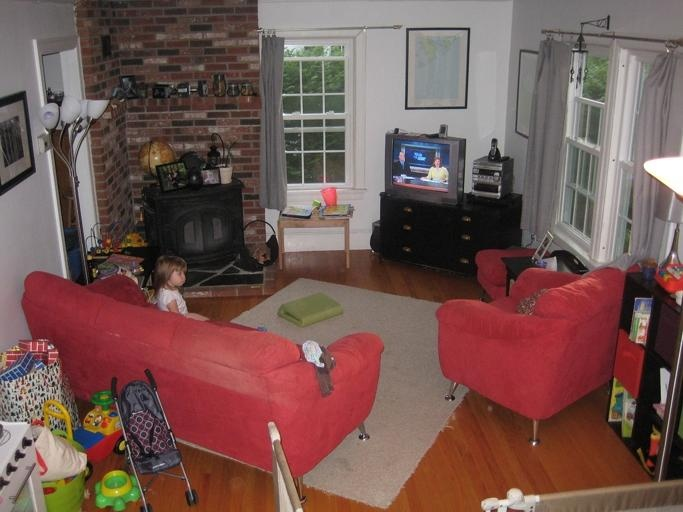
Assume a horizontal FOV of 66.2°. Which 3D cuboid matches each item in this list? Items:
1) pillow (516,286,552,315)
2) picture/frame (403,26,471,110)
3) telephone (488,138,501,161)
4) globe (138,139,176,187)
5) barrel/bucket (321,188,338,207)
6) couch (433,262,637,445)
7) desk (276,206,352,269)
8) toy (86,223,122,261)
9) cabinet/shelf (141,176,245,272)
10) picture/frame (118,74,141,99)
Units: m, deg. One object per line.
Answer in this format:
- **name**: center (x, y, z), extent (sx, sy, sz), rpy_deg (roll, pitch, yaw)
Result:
- **pillow**: center (1.380, 0.337, 3.855), extent (0.184, 0.066, 0.205), rpy_deg (-32, 16, 31)
- **picture/frame**: center (1.147, -2.325, 6.357), extent (0.868, 1.016, 0.035), rpy_deg (-1, 25, -3)
- **telephone**: center (1.752, -1.213, 5.990), extent (0.148, 0.240, 0.181), rpy_deg (6, 20, 23)
- **globe**: center (-2.168, -1.131, 6.141), extent (0.381, 0.451, 0.395), rpy_deg (0, 31, -4)
- **barrel/bucket**: center (-0.143, -0.730, 6.498), extent (0.211, 0.249, 0.219), rpy_deg (-5, 29, 3)
- **couch**: center (1.381, 0.786, 4.237), extent (1.437, 1.248, 1.178), rpy_deg (-21, 30, -33)
- **desk**: center (-0.325, -0.046, 6.741), extent (1.073, 0.823, 0.645), rpy_deg (-1, 32, -1)
- **toy**: center (-2.541, -0.140, 5.583), extent (0.155, 0.301, 0.302), rpy_deg (8, 29, 9)
- **cabinet/shelf**: center (-1.680, -0.361, 5.897), extent (0.818, 0.868, 0.466), rpy_deg (-10, 29, -19)
- **picture/frame**: center (-2.445, -1.959, 6.071), extent (0.060, 0.269, 0.260), rpy_deg (7, 14, 33)
